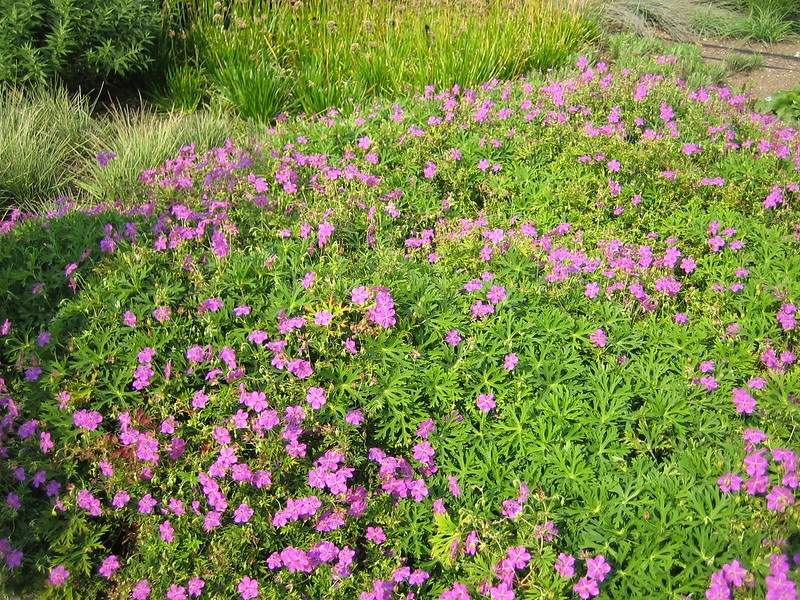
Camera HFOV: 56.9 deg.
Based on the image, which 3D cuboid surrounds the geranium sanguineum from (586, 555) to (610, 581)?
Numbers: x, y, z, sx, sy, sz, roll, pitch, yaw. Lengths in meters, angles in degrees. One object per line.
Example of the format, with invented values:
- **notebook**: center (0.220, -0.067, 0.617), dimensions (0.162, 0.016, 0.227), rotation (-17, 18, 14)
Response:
- **geranium sanguineum**: center (1.094, 1.486, 4.087), dimensions (0.124, 0.119, 0.113), rotation (-7, 43, -8)

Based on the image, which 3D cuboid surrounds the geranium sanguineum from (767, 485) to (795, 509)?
- **geranium sanguineum**: center (2.107, 1.109, 4.097), dimensions (0.116, 0.046, 0.138), rotation (-21, 77, 10)
